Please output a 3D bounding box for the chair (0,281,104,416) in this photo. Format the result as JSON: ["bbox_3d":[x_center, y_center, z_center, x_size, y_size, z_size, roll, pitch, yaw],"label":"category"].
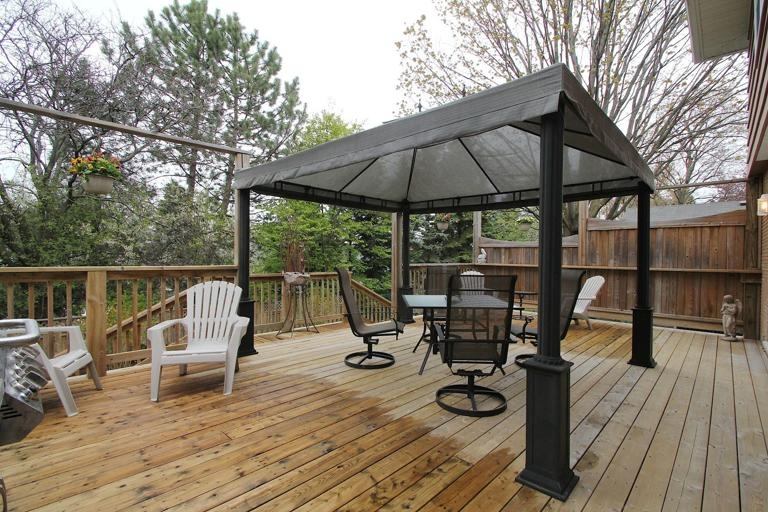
[{"bbox_3d":[-4.731,1.448,7.038,1.475,1.705,1.210,-4,4,9],"label":"chair"}]

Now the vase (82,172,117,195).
[{"bbox_3d":[-4.555,-1.140,7.686,0.363,0.190,0.345,0,-5,3],"label":"vase"}]

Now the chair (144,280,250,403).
[{"bbox_3d":[-2.710,1.193,6.968,1.259,1.562,1.045,-2,2,-15],"label":"chair"}]

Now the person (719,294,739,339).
[{"bbox_3d":[6.470,1.149,8.866,0.247,0.821,0.317,0,2,41],"label":"person"}]

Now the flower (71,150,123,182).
[{"bbox_3d":[-4.715,-1.414,7.707,0.781,0.466,0.791,2,3,40],"label":"flower"}]
